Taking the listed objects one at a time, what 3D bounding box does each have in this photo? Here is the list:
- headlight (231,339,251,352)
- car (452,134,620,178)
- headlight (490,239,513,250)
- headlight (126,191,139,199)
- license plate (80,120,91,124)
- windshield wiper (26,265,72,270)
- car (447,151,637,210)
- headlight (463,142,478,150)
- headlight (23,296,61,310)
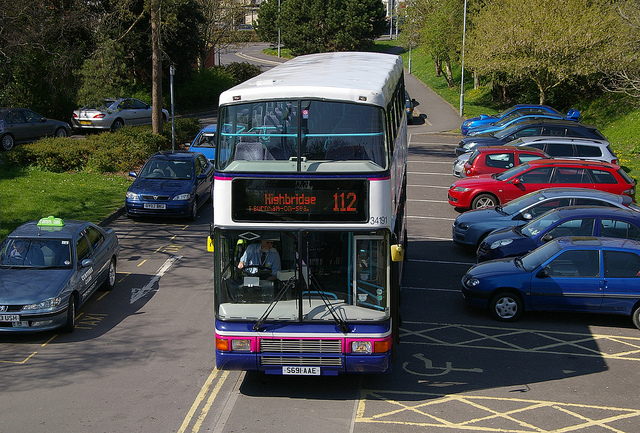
[{"bbox_3d":[-1.874,3.037,17.961,0.338,0.217,0.329,0,1,-22],"label":"headlight"},{"bbox_3d":[9.267,-2.714,32.127,5.919,1.920,2.659,2,8,3],"label":"car"},{"bbox_3d":[5.651,0.862,23.575,0.493,0.125,0.294,-7,12,0],"label":"headlight"},{"bbox_3d":[-6.907,-0.781,27.744,0.592,0.240,0.194,7,15,35],"label":"headlight"},{"bbox_3d":[-12.471,-5.039,40.170,0.770,0.202,0.025,4,14,26],"label":"license plate"},{"bbox_3d":[-7.514,1.421,21.065,0.774,0.096,0.031,-5,-22,-4],"label":"windshield wiper"},{"bbox_3d":[8.277,-1.399,28.683,5.815,1.806,2.645,1,11,10],"label":"car"},{"bbox_3d":[7.404,-3.511,37.337,0.548,0.244,0.291,-13,21,-17],"label":"headlight"},{"bbox_3d":[-7.431,2.345,20.262,0.939,0.232,0.106,-6,13,-23],"label":"headlight"}]
